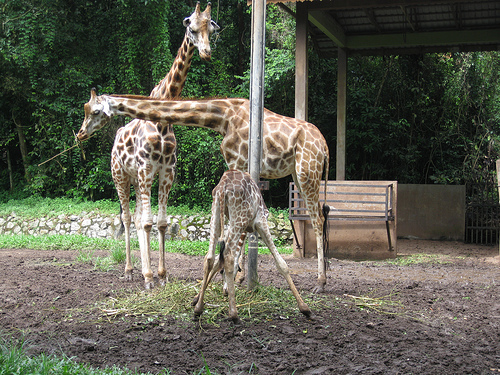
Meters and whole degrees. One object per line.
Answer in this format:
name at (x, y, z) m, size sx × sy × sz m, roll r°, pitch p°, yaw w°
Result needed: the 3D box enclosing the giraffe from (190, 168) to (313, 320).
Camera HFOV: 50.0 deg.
giraffe at (-0.088, 0.685, 7.326) m, size 1.472 × 1.897 × 1.307 m, roll -1°, pitch 11°, yaw -9°
